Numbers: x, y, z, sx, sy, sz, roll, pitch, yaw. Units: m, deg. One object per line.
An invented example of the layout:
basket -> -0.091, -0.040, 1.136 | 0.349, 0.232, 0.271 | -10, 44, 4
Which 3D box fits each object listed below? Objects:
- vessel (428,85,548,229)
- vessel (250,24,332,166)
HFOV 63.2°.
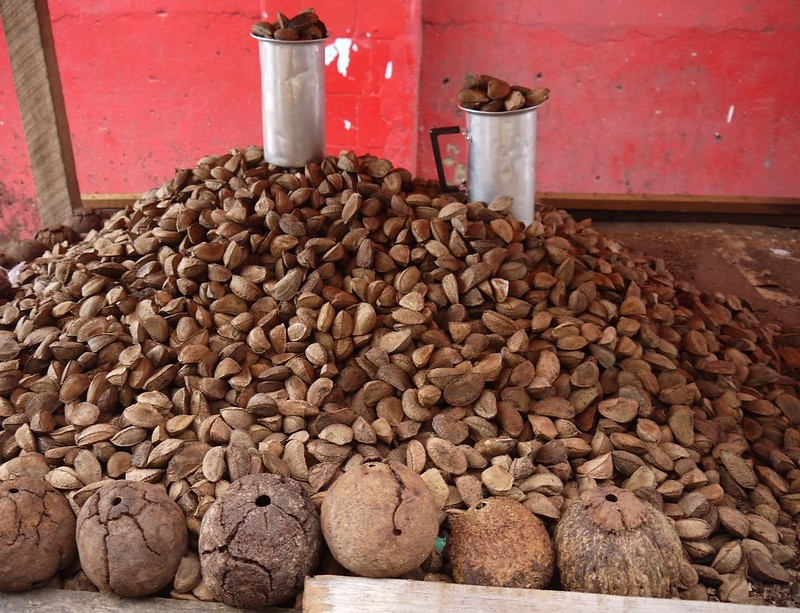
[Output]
vessel -> 0.446, -0.702, 2.943 | 0.381, 0.653, 0.302 | 2, 24, 4
vessel -> -0.473, -0.908, 2.908 | 0.293, 0.553, 0.146 | -2, 25, -6
